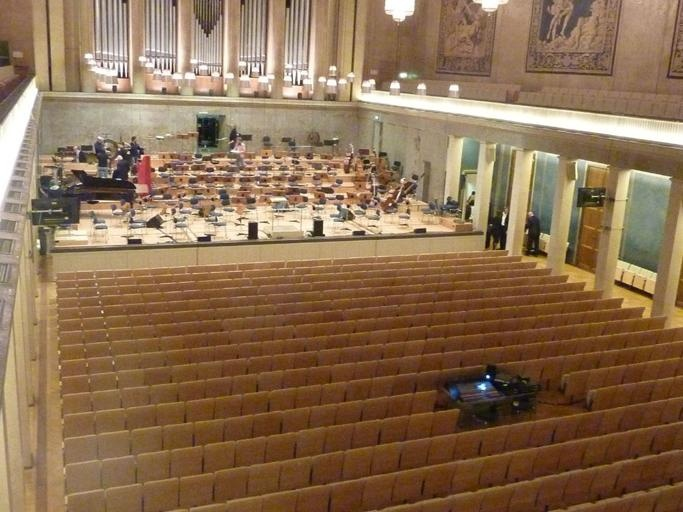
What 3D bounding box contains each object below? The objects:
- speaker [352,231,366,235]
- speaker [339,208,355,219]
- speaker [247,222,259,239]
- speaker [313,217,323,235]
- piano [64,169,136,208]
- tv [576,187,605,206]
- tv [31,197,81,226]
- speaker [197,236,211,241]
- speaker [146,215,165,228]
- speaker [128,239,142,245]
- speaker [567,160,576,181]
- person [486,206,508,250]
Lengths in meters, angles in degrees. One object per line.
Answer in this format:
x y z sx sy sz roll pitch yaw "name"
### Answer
0.536 -0.711 15.651 0.409 0.125 0.488 -2 14 1 "speaker"
0.186 -1.384 17.251 0.472 0.456 0.334 -2 3 -25 "speaker"
-2.526 -0.720 14.777 0.283 0.470 0.230 -6 13 -16 "speaker"
-0.684 -0.843 15.327 0.278 0.469 0.259 -3 13 -3 "speaker"
-6.756 -1.907 14.707 1.394 0.890 1.056 -1 11 -18 "piano"
6.266 -1.484 13.016 0.826 0.479 0.190 -6 13 -17 "tv"
-5.760 -0.904 10.517 0.972 0.658 0.528 1 15 -8 "tv"
-3.774 -0.480 14.314 0.206 0.075 0.159 -1 10 -10 "speaker"
-5.197 -0.957 14.498 0.324 0.389 0.550 11 18 44 "speaker"
-5.428 -0.390 13.692 0.208 0.091 0.211 1 7 0 "speaker"
6.267 -2.306 14.093 0.291 0.538 0.138 -8 14 -25 "speaker"
5.389 -0.890 18.048 0.699 1.534 2.299 2 14 16 "person"
